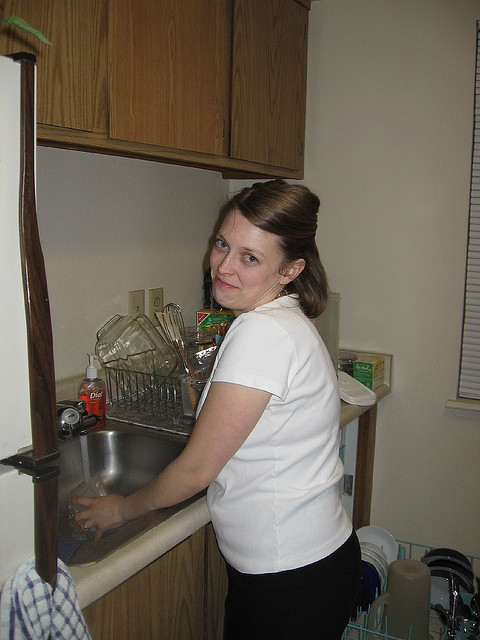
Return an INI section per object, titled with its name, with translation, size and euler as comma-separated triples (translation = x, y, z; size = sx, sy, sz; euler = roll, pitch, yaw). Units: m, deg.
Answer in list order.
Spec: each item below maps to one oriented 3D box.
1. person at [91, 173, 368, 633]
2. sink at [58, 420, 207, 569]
[person]
translation = 0.001, 0.235, 0.921
size = 0.379, 0.944, 0.388
euler = 3, 9, 35
[sink]
translation = -0.213, 0.341, 0.989
size = 0.262, 0.135, 0.341
euler = 9, 12, 24
